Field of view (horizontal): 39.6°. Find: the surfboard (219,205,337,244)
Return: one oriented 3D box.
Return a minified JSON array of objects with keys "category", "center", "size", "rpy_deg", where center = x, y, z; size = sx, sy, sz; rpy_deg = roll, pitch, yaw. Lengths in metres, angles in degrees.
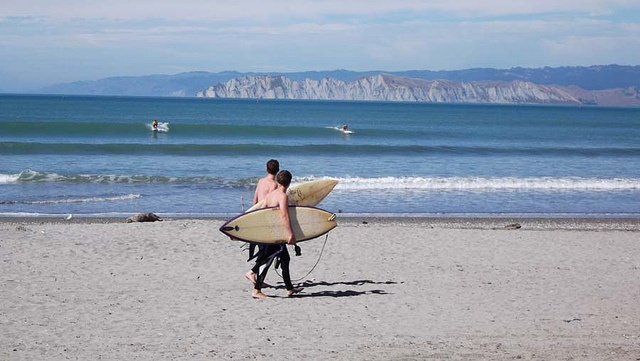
[{"category":"surfboard","center":[-1.936,1.896,37.885],"size":[3.842,1.582,2.868],"rpy_deg":[2,0,-15]}]
